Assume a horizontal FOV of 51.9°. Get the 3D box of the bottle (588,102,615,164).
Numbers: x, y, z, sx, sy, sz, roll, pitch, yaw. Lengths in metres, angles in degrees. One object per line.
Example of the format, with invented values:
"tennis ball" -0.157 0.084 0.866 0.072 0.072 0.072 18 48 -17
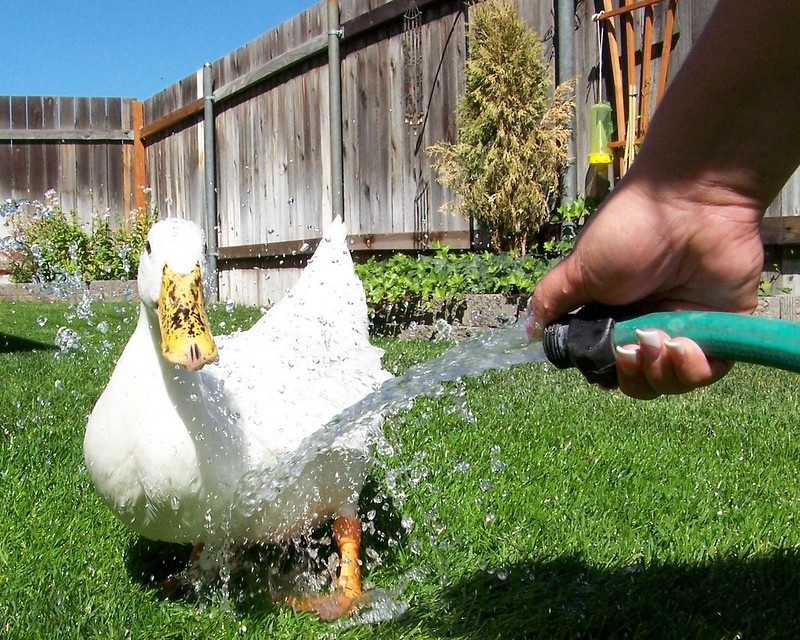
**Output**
"bottle" 1.625 -1.495 6.586 0.250 0.463 0.159 -6 13 -27
